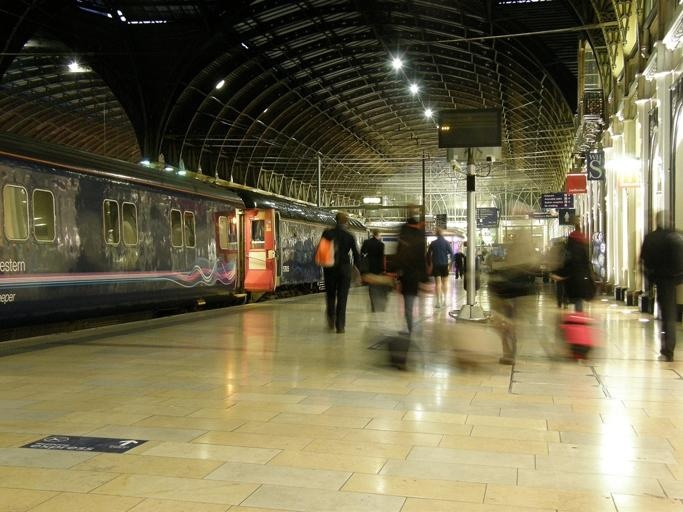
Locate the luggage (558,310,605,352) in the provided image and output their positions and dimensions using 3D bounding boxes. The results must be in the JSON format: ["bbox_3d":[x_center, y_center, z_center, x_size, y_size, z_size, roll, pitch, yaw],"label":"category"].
[{"bbox_3d":[3.882,1.326,8.336,0.638,0.857,0.478,10,-22,17],"label":"luggage"}]
